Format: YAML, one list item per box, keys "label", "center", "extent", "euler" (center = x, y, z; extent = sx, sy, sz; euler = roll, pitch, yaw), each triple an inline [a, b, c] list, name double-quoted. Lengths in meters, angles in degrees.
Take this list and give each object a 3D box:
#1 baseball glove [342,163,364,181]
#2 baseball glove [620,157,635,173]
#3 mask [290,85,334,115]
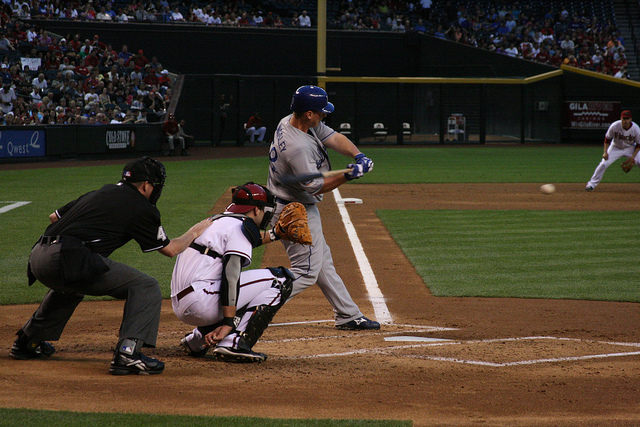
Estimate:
- label: "baseball glove"
  center: [0.470, -0.591, 12.847]
  extent: [0.275, 0.221, 0.294]
  euler: [3, 6, 12]
- label: "baseball glove"
  center: [7.424, -1.176, 21.721]
  extent: [0.431, 0.109, 0.281]
  euler: [-26, -2, -5]
- label: "mask"
  center: [-0.117, -1.643, 12.856]
  extent: [0.747, 0.279, 0.433]
  euler: [4, 32, -17]
